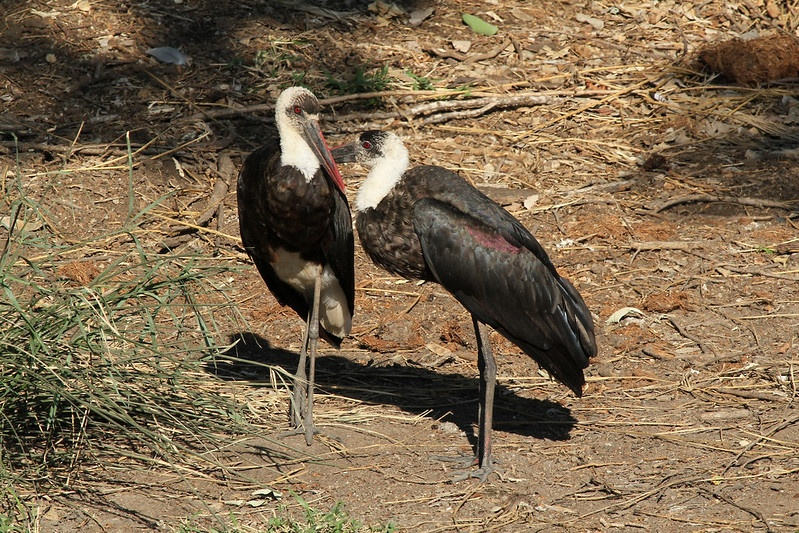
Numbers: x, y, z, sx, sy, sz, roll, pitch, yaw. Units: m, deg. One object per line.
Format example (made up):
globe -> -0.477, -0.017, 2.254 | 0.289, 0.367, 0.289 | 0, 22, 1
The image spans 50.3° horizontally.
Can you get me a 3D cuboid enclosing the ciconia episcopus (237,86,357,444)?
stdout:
ciconia episcopus -> -0.862, -0.268, 7.161 | 0.927, 2.451, 0.843 | -7, 11, -3
